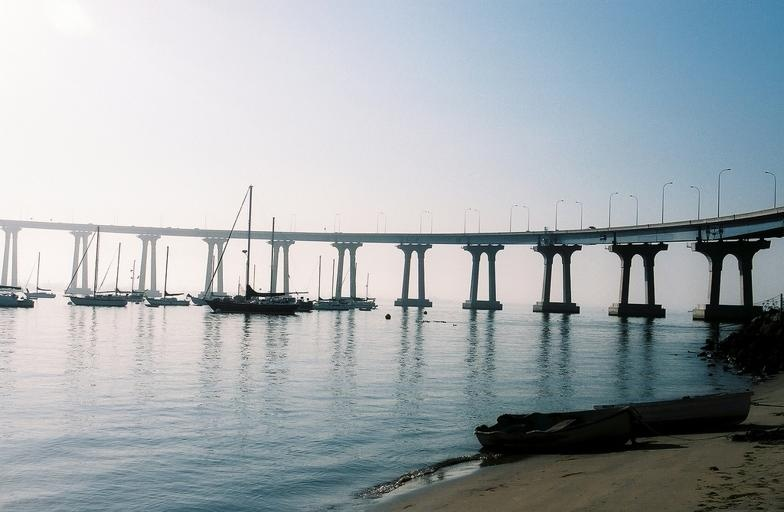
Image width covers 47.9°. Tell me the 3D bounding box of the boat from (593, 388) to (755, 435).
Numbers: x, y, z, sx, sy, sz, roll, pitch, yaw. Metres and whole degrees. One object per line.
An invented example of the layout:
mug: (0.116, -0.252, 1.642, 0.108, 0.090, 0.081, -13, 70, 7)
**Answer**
boat: (13.953, 7.239, 41.639, 7.730, 1.557, 1.863, -5, -27, 0)

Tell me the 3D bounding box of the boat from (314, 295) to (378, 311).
boat: (-9.045, 9.183, 164.057, 4.201, 2.566, 20.235, -1, 0, 21)

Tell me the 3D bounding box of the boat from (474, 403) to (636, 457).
boat: (7.364, 8.165, 40.052, 7.834, 2.162, 6.584, -1, -1, 13)
